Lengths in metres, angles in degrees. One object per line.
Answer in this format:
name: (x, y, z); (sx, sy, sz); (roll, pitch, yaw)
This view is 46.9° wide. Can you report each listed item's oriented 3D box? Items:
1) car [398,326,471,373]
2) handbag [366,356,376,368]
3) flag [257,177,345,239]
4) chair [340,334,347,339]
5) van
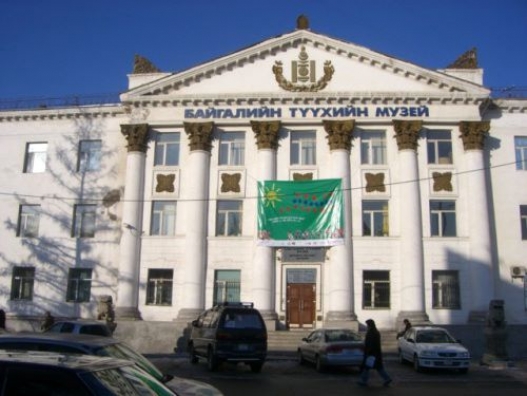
car: (8.105, 7.261, 29.196); (2.237, 2.069, 2.968); (2, -11, -9)
handbag: (4.320, 6.647, 24.631); (0.345, 0.412, 0.183); (3, -12, -15)
flag: (2.539, 0.808, 39.168); (3.897, 2.892, 0.187); (-1, -11, 1)
chair: (3.728, 6.500, 28.471); (0.191, 0.203, 0.200); (3, -7, -17)
van: (-1.831, 6.474, 28.819); (2.193, 2.119, 4.073); (4, -11, -17)
